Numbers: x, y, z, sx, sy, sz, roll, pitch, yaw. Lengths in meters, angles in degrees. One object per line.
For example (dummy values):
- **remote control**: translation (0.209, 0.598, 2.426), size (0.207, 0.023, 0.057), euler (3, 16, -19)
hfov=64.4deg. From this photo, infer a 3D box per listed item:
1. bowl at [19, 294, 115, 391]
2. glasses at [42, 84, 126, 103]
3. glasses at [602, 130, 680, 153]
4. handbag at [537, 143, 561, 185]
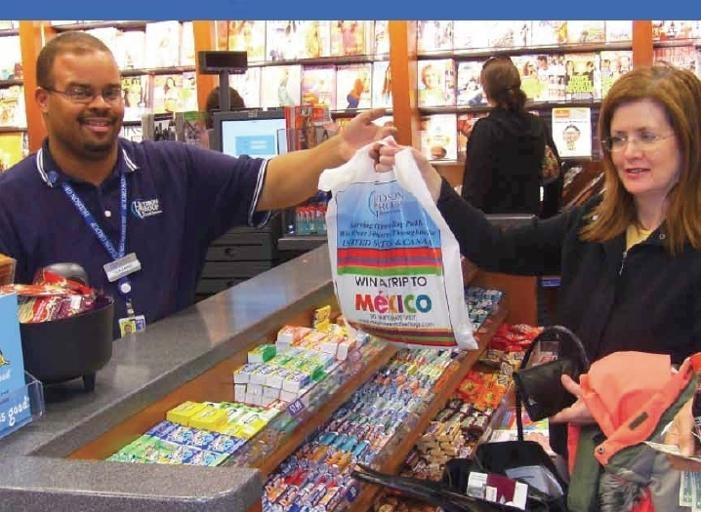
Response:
- **bowl**: translation (-0.662, 0.206, 1.321), size (0.171, 0.158, 0.205), euler (-4, 0, -5)
- **glasses**: translation (-0.953, -0.577, 1.988), size (0.253, 0.061, 0.123), euler (-8, 14, -27)
- **glasses**: translation (0.826, -0.339, 1.642), size (0.083, 0.054, 0.206), euler (-11, 16, -35)
- **handbag**: translation (1.608, -0.761, 4.537), size (0.090, 0.272, 0.203), euler (-8, 5, 16)
